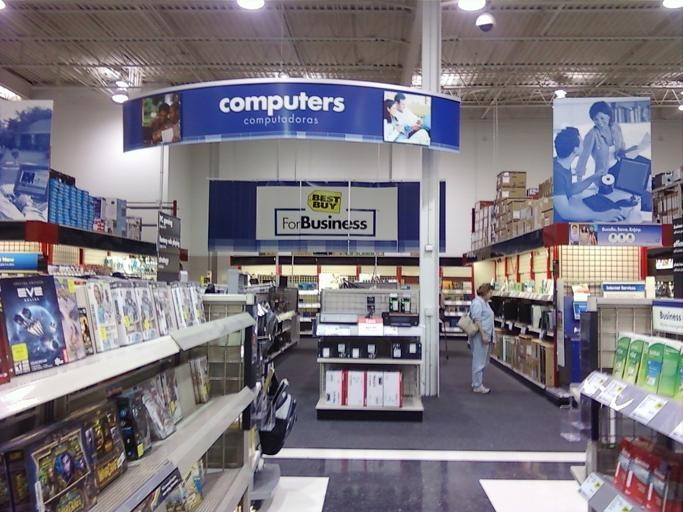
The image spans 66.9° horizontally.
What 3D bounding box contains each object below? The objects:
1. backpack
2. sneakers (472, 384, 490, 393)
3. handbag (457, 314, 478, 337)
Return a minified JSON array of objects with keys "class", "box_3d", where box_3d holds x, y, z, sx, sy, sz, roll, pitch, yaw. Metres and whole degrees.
[{"class":"backpack","box_3d":[-0.547,1.367,4.361,0.195,0.670,0.444,10,3,-4]},{"class":"sneakers","box_3d":[2.095,1.973,7.743,0.227,0.200,0.112,-3,-5,13]},{"class":"handbag","box_3d":[1.897,1.020,7.730,0.111,0.202,0.323,4,29,-32]}]
